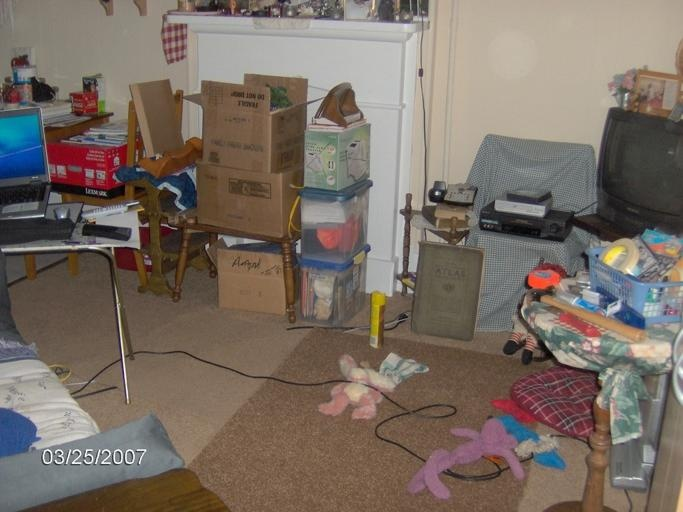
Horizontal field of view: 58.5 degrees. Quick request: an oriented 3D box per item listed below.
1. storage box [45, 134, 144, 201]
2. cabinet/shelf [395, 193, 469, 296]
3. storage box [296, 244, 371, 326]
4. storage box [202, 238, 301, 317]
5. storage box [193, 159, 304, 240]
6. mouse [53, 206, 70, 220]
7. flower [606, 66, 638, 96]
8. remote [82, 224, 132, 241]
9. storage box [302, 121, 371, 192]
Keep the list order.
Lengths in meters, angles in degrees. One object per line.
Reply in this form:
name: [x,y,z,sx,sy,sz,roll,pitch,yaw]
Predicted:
storage box: [-1.757,-0.686,4.480,0.552,0.445,0.440,14,28,23]
cabinet/shelf: [0.599,-0.039,4.143,0.358,0.778,0.708,-12,27,-27]
storage box: [-0.067,0.225,4.052,0.372,0.546,0.325,12,24,25]
storage box: [-0.585,0.109,4.174,0.578,0.435,0.359,1,19,2]
storage box: [-0.573,-0.450,3.905,0.574,0.526,0.451,9,23,21]
mouse: [-1.471,-0.238,3.216,0.066,0.073,0.082,0,-1,-4]
flower: [1.684,-1.071,3.650,0.067,0.174,0.136,22,1,-30]
remote: [-1.184,-0.129,3.069,0.168,0.053,0.111,5,20,-23]
storage box: [0.023,-0.746,3.824,0.362,0.510,0.709,8,21,21]
